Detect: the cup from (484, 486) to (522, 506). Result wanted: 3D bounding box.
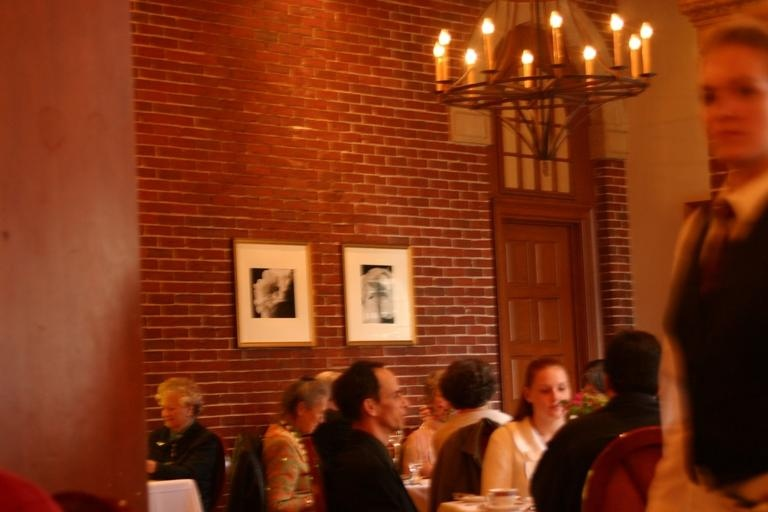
[{"bbox_3d":[0.474,0.983,2.908,0.089,0.058,0.086,0,-10,0],"label":"cup"}]

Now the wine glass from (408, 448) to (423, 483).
[{"bbox_3d":[0.173,1.267,4.193,0.097,0.142,0.096,-7,-9,35],"label":"wine glass"}]

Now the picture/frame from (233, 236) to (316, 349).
[{"bbox_3d":[-0.952,0.315,5.877,1.017,1.188,0.058,1,-8,-32],"label":"picture/frame"}]
